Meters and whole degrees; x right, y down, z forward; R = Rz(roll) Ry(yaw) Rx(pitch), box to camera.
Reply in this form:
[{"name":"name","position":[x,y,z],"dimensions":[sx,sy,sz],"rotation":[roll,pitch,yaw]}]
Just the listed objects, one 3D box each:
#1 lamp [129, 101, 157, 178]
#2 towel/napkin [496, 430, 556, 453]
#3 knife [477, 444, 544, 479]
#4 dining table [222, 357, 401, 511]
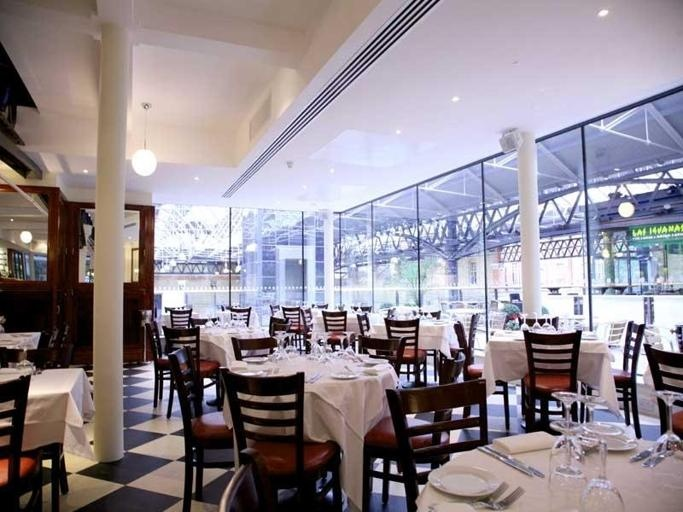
[{"name":"lamp","position":[-3.093,-1.753,7.837],"dimensions":[0.346,1.221,1.540],"rotation":[2,-5,-22]},{"name":"towel/napkin","position":[1.116,1.133,3.030],"dimensions":[0.219,0.053,0.169],"rotation":[-1,-4,-17]},{"name":"knife","position":[0.979,1.193,2.920],"dimensions":[0.104,0.023,0.419],"rotation":[-7,11,-39]},{"name":"dining table","position":[-0.046,1.276,4.546],"dimensions":[1.257,0.825,1.295],"rotation":[0,2,14]}]
